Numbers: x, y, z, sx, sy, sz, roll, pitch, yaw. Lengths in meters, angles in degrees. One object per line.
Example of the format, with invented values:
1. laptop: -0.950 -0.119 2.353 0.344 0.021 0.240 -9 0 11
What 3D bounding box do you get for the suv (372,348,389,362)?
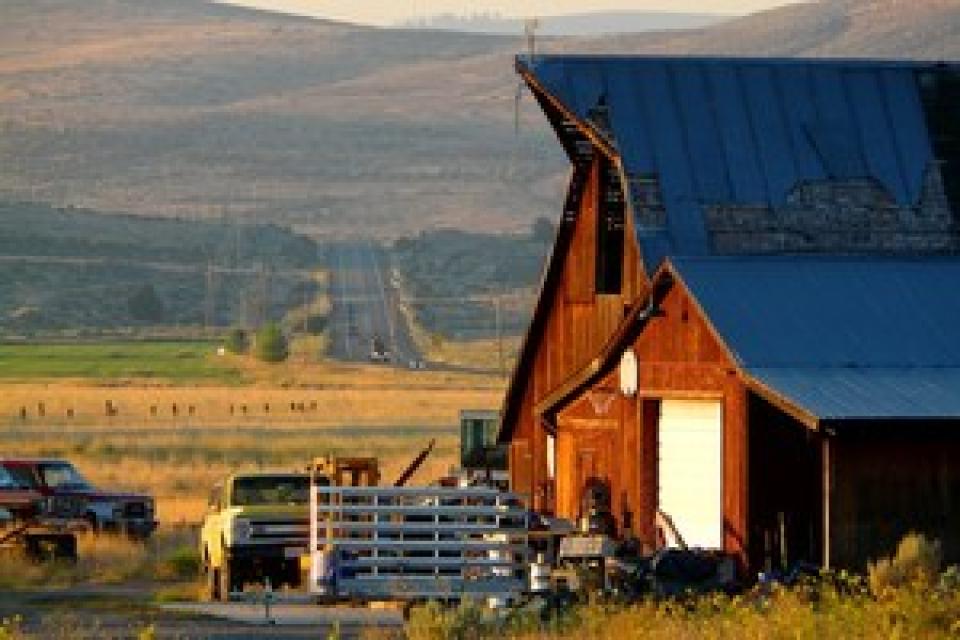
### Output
1. suv: -20.712 7.212 495.620 3.730 2.972 3.134 1 -3 -16
